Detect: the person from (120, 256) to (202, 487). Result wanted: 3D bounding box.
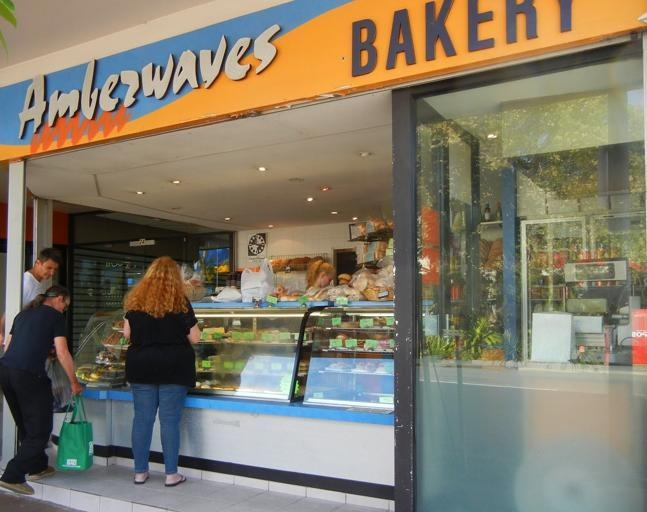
[{"bbox_3d":[-1.375,0.944,4.314,0.639,1.871,0.314,1,-6,-5],"label":"person"}]

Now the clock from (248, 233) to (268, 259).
[{"bbox_3d":[-1.180,-0.181,9.398,0.453,0.518,0.068,-1,0,31],"label":"clock"}]

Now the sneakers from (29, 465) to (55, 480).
[{"bbox_3d":[-2.407,1.844,4.421,0.062,0.073,0.169,-1,2,37],"label":"sneakers"}]

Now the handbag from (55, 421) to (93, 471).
[{"bbox_3d":[-2.107,1.532,4.387,0.286,0.455,0.320,3,-6,-30],"label":"handbag"}]

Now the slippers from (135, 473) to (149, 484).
[{"bbox_3d":[-1.515,1.849,4.306,0.053,0.066,0.154,5,-9,-2],"label":"slippers"}]

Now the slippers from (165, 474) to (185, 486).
[{"bbox_3d":[-1.216,1.836,4.233,0.070,0.073,0.170,1,1,21],"label":"slippers"}]
